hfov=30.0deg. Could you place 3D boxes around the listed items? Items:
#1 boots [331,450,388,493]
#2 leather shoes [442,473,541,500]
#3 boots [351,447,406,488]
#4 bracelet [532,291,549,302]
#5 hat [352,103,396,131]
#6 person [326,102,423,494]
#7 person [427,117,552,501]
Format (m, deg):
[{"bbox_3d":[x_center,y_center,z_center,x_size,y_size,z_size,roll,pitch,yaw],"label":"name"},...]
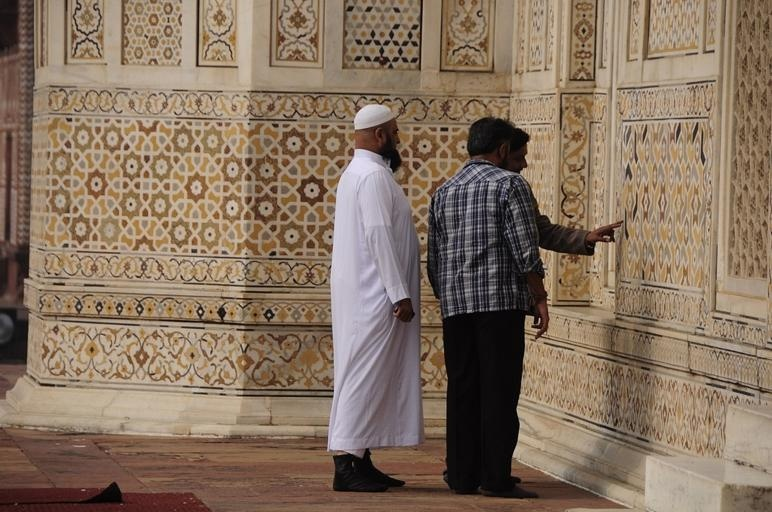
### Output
[{"bbox_3d":[-0.169,1.166,7.779,0.353,0.258,0.141,-1,-1,-5],"label":"boots"},{"bbox_3d":[0.559,1.253,7.719,0.516,0.230,0.164,-1,-2,0],"label":"leather shoes"},{"bbox_3d":[-0.037,1.173,7.799,0.283,0.210,0.102,1,-26,-13],"label":"boots"},{"bbox_3d":[0.810,0.212,7.592,0.058,0.048,0.061,-1,5,-15],"label":"bracelet"},{"bbox_3d":[-0.075,-0.763,7.806,0.161,0.073,0.158,-22,15,-5],"label":"hat"},{"bbox_3d":[-0.051,0.228,7.733,0.501,1.991,0.638,0,14,1],"label":"person"},{"bbox_3d":[0.546,0.276,7.669,0.600,1.929,0.647,-1,14,-5],"label":"person"}]
